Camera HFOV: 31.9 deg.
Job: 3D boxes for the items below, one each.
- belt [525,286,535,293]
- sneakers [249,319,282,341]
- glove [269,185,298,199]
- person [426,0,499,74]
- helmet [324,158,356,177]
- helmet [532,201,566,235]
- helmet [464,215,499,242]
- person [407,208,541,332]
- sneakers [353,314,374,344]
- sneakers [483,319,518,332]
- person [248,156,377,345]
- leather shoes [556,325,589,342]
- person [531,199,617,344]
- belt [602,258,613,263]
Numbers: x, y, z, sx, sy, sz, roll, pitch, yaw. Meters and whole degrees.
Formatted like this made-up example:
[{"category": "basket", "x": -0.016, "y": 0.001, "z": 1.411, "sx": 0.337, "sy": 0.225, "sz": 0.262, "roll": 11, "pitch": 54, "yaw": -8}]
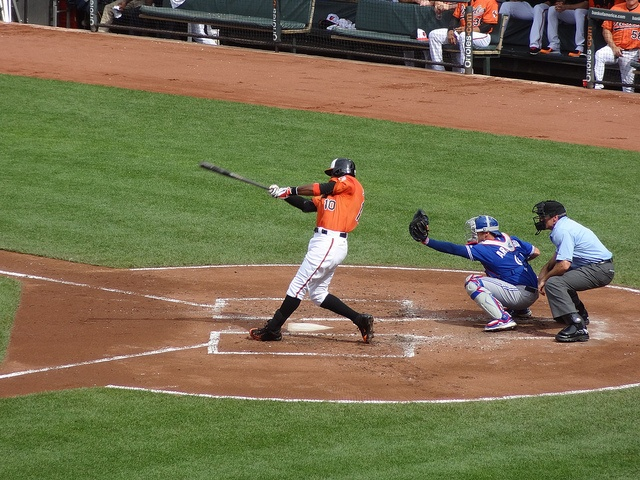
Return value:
[{"category": "belt", "x": 2.565, "y": 0.618, "z": 13.649, "sx": 0.100, "sy": 0.032, "sz": 0.087, "roll": 13, "pitch": -2, "yaw": 19}, {"category": "sneakers", "x": -0.680, "y": 1.050, "z": 13.395, "sx": 0.450, "sy": 0.265, "sz": 0.176, "roll": 7, "pitch": 38, "yaw": -2}, {"category": "glove", "x": -0.418, "y": -0.568, "z": 13.263, "sx": 0.172, "sy": 0.099, "sz": 0.280, "roll": -12, "pitch": -11, "yaw": 40}, {"category": "person", "x": 2.860, "y": -4.122, "z": 22.587, "sx": 1.149, "sy": 1.748, "sz": 0.885, "roll": -4, "pitch": 38, "yaw": -25}, {"category": "helmet", "x": 0.239, "y": -0.858, "z": 13.323, "sx": 0.329, "sy": 0.146, "sz": 0.213, "roll": 2, "pitch": 2, "yaw": 16}, {"category": "helmet", "x": 2.796, "y": -0.263, "z": 13.543, "sx": 0.425, "sy": 0.301, "sz": 0.305, "roll": -11, "pitch": -12, "yaw": 5}, {"category": "helmet", "x": 1.988, "y": -0.149, "z": 13.767, "sx": 0.428, "sy": 0.302, "sz": 0.299, "roll": 6, "pitch": 12, "yaw": 22}, {"category": "person", "x": 1.828, "y": 0.319, "z": 13.768, "sx": 1.916, "sy": 1.274, "sz": 1.190, "roll": -5, "pitch": 17, "yaw": -36}, {"category": "sneakers", "x": 0.533, "y": 1.040, "z": 13.262, "sx": 0.220, "sy": 0.370, "sz": 0.146, "roll": -12, "pitch": 22, "yaw": 11}, {"category": "sneakers", "x": 2.189, "y": 1.037, "z": 13.522, "sx": 0.429, "sy": 0.179, "sz": 0.139, "roll": -1, "pitch": 8, "yaw": -2}, {"category": "person", "x": 0.014, "y": 0.151, "z": 13.240, "sx": 1.443, "sy": 2.213, "sz": 0.508, "roll": 5, "pitch": 9, "yaw": 1}, {"category": "leather shoes", "x": 3.004, "y": 1.118, "z": 13.343, "sx": 0.394, "sy": 0.179, "sz": 0.172, "roll": 1, "pitch": 8, "yaw": -5}, {"category": "person", "x": 2.995, "y": 0.393, "z": 13.368, "sx": 0.988, "sy": 1.637, "sz": 0.524, "roll": 7, "pitch": 9, "yaw": 10}, {"category": "belt", "x": 3.486, "y": 0.254, "z": 13.481, "sx": 0.135, "sy": 0.040, "sz": 0.105, "roll": -4, "pitch": 2, "yaw": 0}]
